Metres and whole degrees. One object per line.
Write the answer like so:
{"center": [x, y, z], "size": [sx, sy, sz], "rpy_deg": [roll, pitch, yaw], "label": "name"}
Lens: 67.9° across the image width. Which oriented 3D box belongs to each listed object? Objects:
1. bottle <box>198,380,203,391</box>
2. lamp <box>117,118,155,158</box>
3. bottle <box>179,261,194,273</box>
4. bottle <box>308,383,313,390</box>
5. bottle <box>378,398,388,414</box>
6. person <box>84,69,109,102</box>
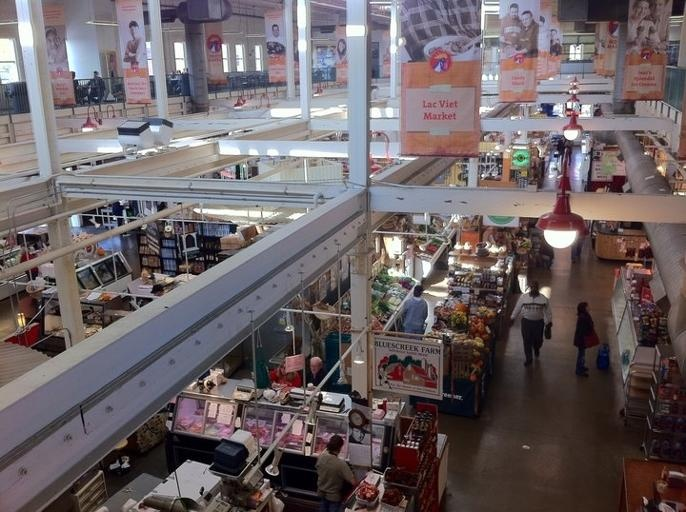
{"center": [-2.171, 1.985, 7.833], "size": [0.079, 0.105, 0.035], "rpy_deg": [2, -16, 17], "label": "bottle"}
{"center": [-2.961, -1.692, 7.300], "size": [0.483, 0.622, 0.506], "rpy_deg": [7, 5, 20], "label": "lamp"}
{"center": [-4.014, 0.255, 13.124], "size": [0.335, 0.299, 0.178], "rpy_deg": [-3, -2, 28], "label": "bottle"}
{"center": [-0.480, 1.989, 7.808], "size": [0.083, 0.100, 0.092], "rpy_deg": [2, 0, -9], "label": "bottle"}
{"center": [0.603, 2.154, 7.434], "size": [0.123, 0.215, 0.227], "rpy_deg": [3, 2, 24], "label": "bottle"}
{"center": [-8.750, -6.078, 18.299], "size": [0.486, 0.777, 0.453], "rpy_deg": [-11, 16, 6], "label": "person"}
